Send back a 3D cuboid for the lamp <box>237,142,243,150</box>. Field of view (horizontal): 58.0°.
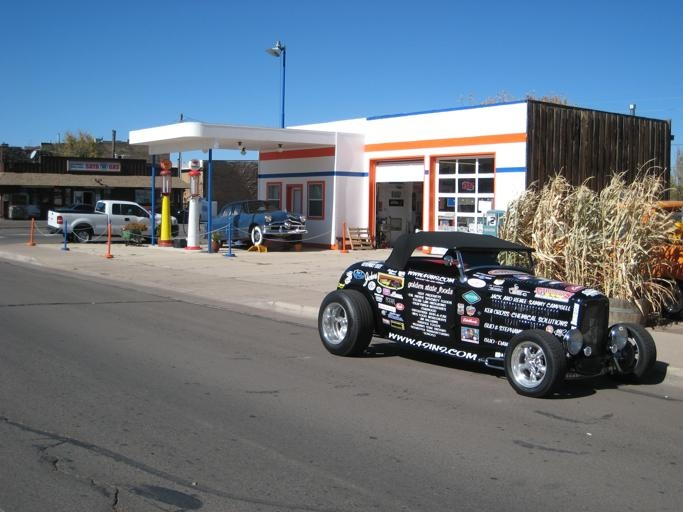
[{"bbox_3d":[-4.749,-5.229,29.282,0.218,0.297,0.236,2,11,7],"label":"lamp"}]

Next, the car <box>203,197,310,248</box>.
[{"bbox_3d":[-3.640,-1.415,27.017,3.855,2.013,1.610,4,5,25],"label":"car"}]

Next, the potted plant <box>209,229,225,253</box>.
[{"bbox_3d":[-5.449,-0.642,26.274,0.691,0.953,0.798,0,1,14],"label":"potted plant"}]

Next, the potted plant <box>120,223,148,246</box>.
[{"bbox_3d":[-9.766,-1.036,29.140,1.018,1.142,0.985,1,5,6],"label":"potted plant"}]

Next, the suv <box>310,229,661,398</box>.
[{"bbox_3d":[1.745,0.332,8.828,2.299,1.819,3.666,2,2,-42],"label":"suv"}]
